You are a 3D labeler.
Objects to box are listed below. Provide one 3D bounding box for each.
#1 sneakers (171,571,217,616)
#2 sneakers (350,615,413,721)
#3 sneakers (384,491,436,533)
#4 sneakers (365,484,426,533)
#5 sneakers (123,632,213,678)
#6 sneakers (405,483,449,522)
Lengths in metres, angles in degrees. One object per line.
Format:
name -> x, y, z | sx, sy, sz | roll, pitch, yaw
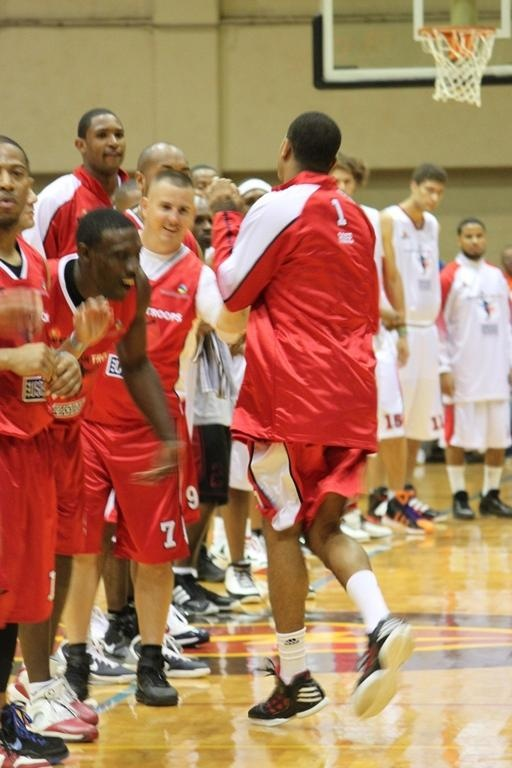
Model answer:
sneakers -> -0.320, 0.979, 3.830 | 0.105, 0.120, 0.306 | 9, 2, -44
sneakers -> 0.294, 0.669, 1.901 | 0.126, 0.239, 0.169 | -1, -2, 17
sneakers -> 1.076, 0.894, 5.741 | 0.413, 0.256, 0.148 | 13, 10, 33
sneakers -> 1.033, 0.886, 5.776 | 0.545, 0.238, 0.173 | 4, 2, 42
sneakers -> -0.336, 0.966, 2.918 | 0.363, 0.162, 0.121 | 5, 3, 6
sneakers -> 1.314, 0.918, 6.289 | 0.342, 0.232, 0.120 | 18, 30, 11
